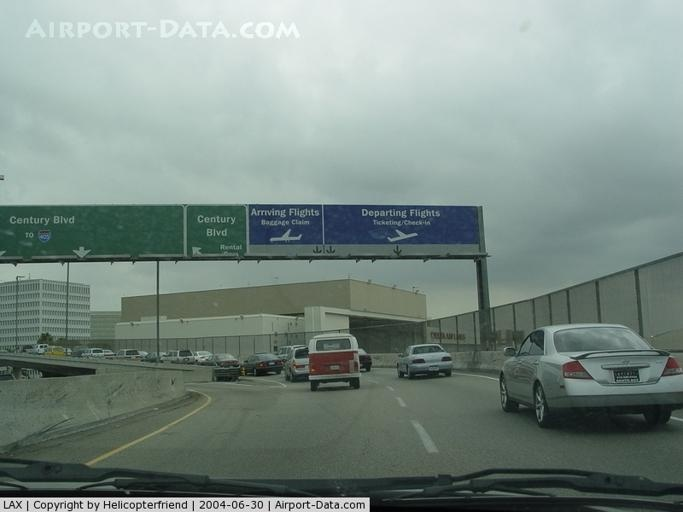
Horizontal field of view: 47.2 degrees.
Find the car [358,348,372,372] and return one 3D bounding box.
[{"bbox_3d":[1.407,6.402,47.625,0.945,0.824,1.733,-1,-2,2],"label":"car"}]

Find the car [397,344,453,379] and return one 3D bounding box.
[{"bbox_3d":[3.492,4.414,33.199,1.647,1.416,2.570,0,-10,-13],"label":"car"}]

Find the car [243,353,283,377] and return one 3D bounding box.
[{"bbox_3d":[-5.075,6.900,50.104,2.403,1.453,2.360,-1,-9,-8],"label":"car"}]

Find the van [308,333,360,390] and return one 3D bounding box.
[{"bbox_3d":[-0.272,3.636,28.224,1.337,1.410,2.266,0,-4,2],"label":"van"}]

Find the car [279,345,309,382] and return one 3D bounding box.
[{"bbox_3d":[-2.213,5.096,37.237,1.142,1.099,2.535,1,-3,-8],"label":"car"}]
